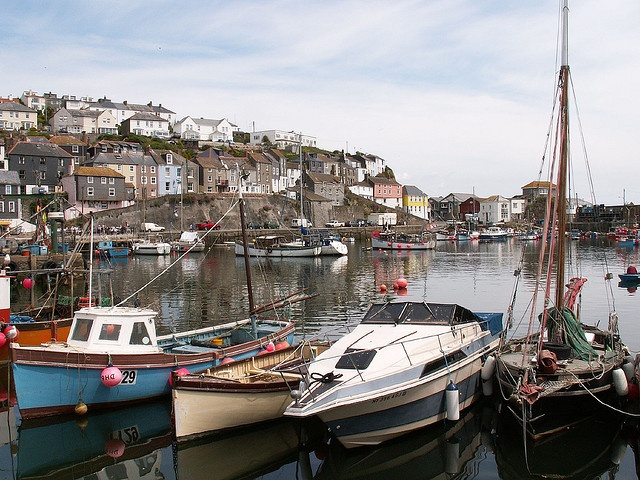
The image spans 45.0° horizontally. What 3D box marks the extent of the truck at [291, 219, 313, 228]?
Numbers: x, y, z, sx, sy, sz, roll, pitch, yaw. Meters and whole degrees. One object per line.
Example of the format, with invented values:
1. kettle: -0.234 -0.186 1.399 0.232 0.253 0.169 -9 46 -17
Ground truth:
1. truck: -1.833 -1.686 79.451 1.517 0.799 1.017 -5 7 -17

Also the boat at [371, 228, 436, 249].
1. boat: 7.452 -0.428 70.998 4.666 1.694 2.705 1 -2 5

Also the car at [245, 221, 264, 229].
1. car: -6.583 -1.519 78.702 1.792 0.617 0.910 1 -4 -29

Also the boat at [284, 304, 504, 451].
1. boat: 2.060 3.431 20.365 2.665 2.656 6.353 -2 2 38

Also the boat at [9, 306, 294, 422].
1. boat: -4.854 3.435 21.883 7.252 2.408 3.262 2 -6 -35

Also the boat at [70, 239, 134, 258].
1. boat: -14.643 0.644 52.201 3.039 0.816 1.479 0 1 16

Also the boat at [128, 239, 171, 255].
1. boat: -14.061 0.736 64.833 2.194 0.937 1.501 1 2 8

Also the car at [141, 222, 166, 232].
1. car: -15.799 -1.118 73.383 1.574 0.765 0.960 -8 14 -20

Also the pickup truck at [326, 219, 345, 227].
1. pickup truck: 1.985 -1.829 89.694 0.905 0.693 1.976 0 -3 36
